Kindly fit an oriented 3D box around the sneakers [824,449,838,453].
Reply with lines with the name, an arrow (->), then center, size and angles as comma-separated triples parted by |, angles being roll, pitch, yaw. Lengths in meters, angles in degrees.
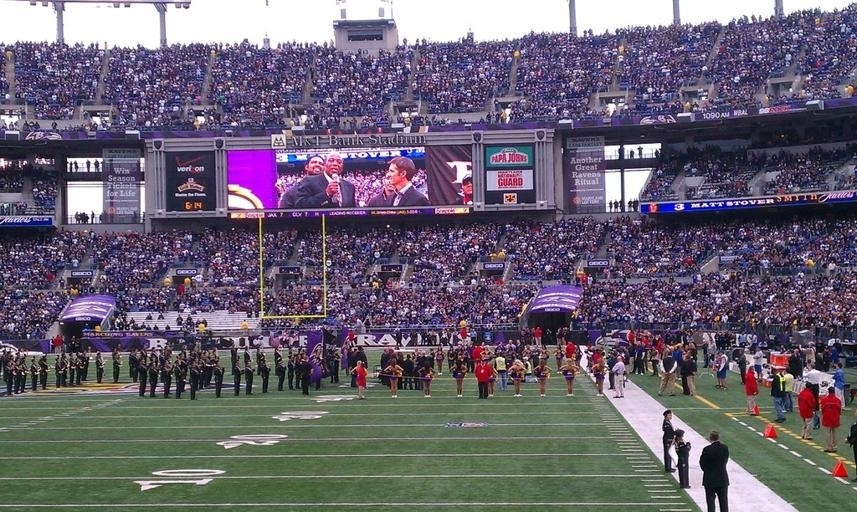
sneakers -> 16.888, 8.188, 64.852 | 0.420, 0.158, 0.158 | -5, 3, -8
